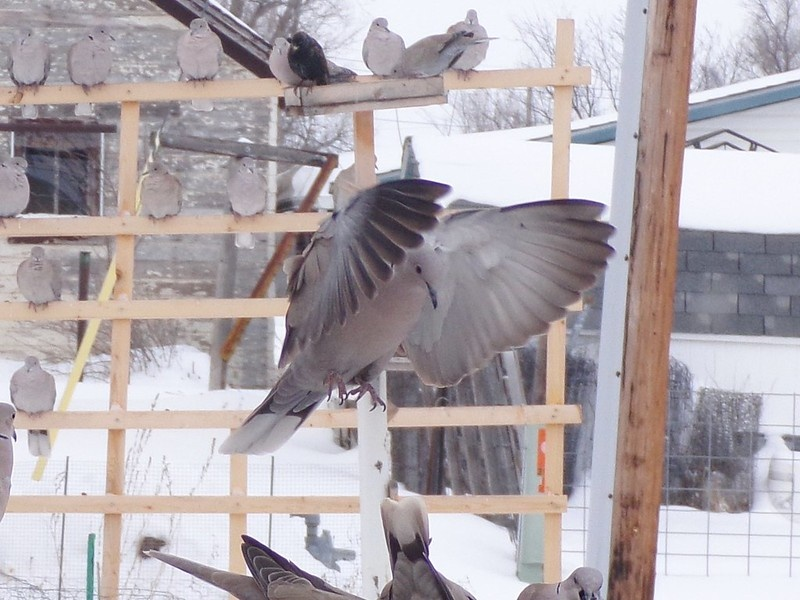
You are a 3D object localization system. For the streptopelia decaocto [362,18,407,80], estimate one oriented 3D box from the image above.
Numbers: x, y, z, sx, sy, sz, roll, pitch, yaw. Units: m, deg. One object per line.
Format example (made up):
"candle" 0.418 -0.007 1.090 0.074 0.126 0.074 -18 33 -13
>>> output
"streptopelia decaocto" -0.151 -2.125 20.934 0.393 0.559 0.577 -1 2 -5

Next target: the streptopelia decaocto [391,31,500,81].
"streptopelia decaocto" 0.246 -2.049 20.843 1.124 0.434 0.376 2 11 30

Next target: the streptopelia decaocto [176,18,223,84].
"streptopelia decaocto" -1.774 -2.140 21.244 0.333 0.526 0.556 1 -25 -6

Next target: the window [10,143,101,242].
"window" -3.378 -1.046 23.637 1.057 1.237 0.092 1 9 -4

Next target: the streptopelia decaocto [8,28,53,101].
"streptopelia decaocto" -3.278 -2.034 21.220 0.295 0.639 0.634 10 11 -15
